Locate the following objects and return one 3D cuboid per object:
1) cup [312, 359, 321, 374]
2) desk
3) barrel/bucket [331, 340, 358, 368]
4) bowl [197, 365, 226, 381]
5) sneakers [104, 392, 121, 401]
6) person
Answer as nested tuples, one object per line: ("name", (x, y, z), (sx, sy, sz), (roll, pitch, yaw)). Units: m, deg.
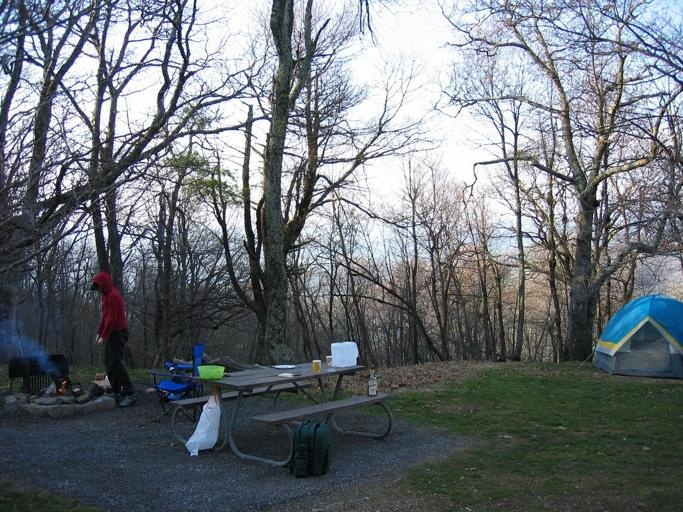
("cup", (-0.424, 1.795, 9.926), (0.138, 0.174, 0.145), (1, -12, 0))
("desk", (-1.089, 2.135, 9.453), (1.566, 0.756, 1.774), (-6, -8, 36))
("barrel/bucket", (0.034, 1.677, 10.450), (0.335, 0.574, 0.592), (-6, -6, 43))
("bowl", (-1.949, 1.758, 9.246), (0.383, 0.191, 0.324), (0, 3, -17))
("sneakers", (-4.361, 2.700, 11.808), (0.165, 0.148, 0.170), (5, -3, -38))
("person", (-4.387, 1.577, 11.914), (0.728, 2.530, 1.144), (-1, 4, -22))
